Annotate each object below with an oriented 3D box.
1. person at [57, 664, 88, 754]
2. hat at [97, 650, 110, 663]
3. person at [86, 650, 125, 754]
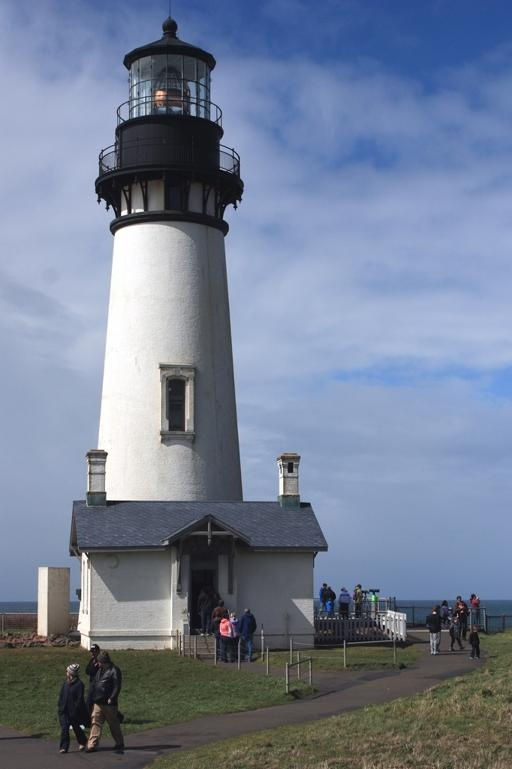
[{"bbox_3d":[-3.211,5.740,28.463,0.509,1.549,1.445,1,-11,-7],"label":"person"},{"bbox_3d":[-2.710,4.889,28.856,0.213,0.291,0.306,3,-13,1],"label":"hat"},{"bbox_3d":[-2.627,5.616,28.470,0.654,1.763,1.217,0,-11,-5],"label":"person"}]
